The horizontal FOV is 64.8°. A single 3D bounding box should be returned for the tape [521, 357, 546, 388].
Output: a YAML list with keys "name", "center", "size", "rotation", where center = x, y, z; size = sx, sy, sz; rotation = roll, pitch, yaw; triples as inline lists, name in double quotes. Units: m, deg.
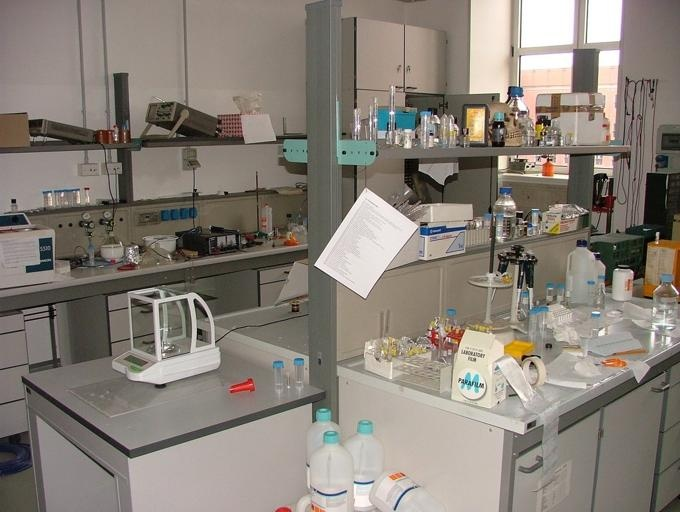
- name: "tape"
  center: [0.740, 0.450, 2.058]
  size: [0.028, 0.103, 0.095]
  rotation: [-3, 17, -26]

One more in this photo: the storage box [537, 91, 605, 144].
- name: "storage box"
  center: [1.329, -0.755, 3.125]
  size: [0.305, 0.334, 0.315]
  rotation: [-1, 7, 1]

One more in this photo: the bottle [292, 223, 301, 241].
- name: "bottle"
  center: [-0.423, -0.229, 5.336]
  size: [0.106, 0.113, 0.146]
  rotation: [6, 21, 10]

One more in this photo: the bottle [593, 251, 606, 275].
- name: "bottle"
  center: [1.497, 0.049, 3.105]
  size: [0.054, 0.134, 0.125]
  rotation: [3, 12, 33]

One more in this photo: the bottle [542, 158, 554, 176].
- name: "bottle"
  center: [2.118, -0.889, 5.447]
  size: [0.079, 0.169, 0.404]
  rotation: [0, 11, 18]

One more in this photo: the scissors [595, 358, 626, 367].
- name: "scissors"
  center: [1.185, 0.471, 2.352]
  size: [0.122, 0.047, 0.045]
  rotation: [5, -12, -11]

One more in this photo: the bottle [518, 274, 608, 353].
- name: "bottle"
  center: [1.189, 0.315, 2.809]
  size: [0.293, 0.193, 0.530]
  rotation: [9, 16, 41]

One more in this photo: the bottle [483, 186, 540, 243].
- name: "bottle"
  center: [0.966, -0.238, 2.979]
  size: [0.165, 0.306, 0.594]
  rotation: [3, 12, 33]

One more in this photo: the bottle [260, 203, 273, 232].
- name: "bottle"
  center: [-0.724, -0.366, 5.268]
  size: [0.138, 0.249, 0.442]
  rotation: [-4, 10, -7]

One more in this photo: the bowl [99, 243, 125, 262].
- name: "bowl"
  center: [-1.761, -0.018, 4.138]
  size: [0.125, 0.100, 0.143]
  rotation: [0, -2, -26]

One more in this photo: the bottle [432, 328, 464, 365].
- name: "bottle"
  center: [0.447, 0.376, 2.206]
  size: [0.055, 0.120, 0.119]
  rotation: [-4, 13, -34]
